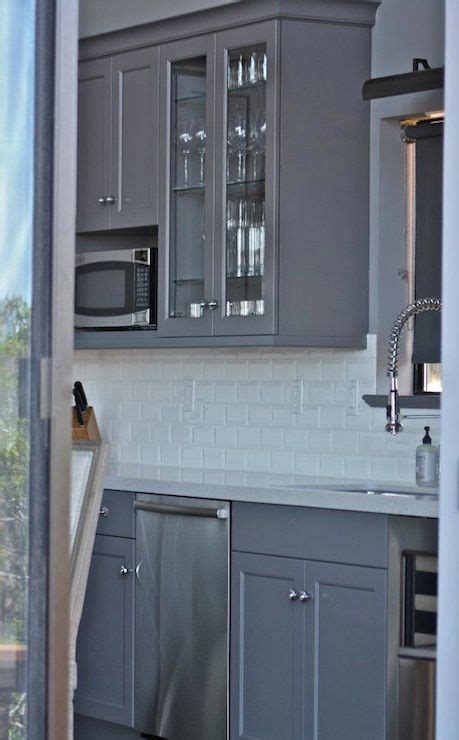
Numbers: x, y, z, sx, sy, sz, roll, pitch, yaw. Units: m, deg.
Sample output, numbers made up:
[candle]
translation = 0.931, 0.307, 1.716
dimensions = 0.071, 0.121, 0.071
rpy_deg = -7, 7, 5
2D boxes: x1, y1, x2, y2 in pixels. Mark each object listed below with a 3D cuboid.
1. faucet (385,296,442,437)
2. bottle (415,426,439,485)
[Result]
[faucet]
translation = 0.554, -0.007, 2.339
dimensions = 0.169, 0.434, 0.075
rpy_deg = 3, 30, 18
[bottle]
translation = 0.593, 0.260, 2.405
dimensions = 0.053, 0.198, 0.059
rpy_deg = 14, -20, -30
